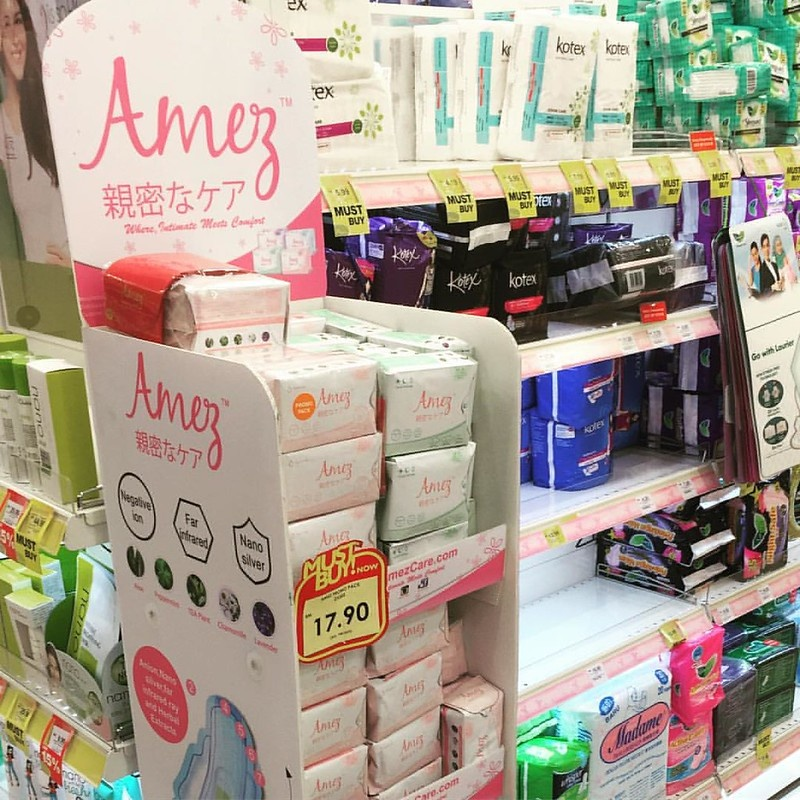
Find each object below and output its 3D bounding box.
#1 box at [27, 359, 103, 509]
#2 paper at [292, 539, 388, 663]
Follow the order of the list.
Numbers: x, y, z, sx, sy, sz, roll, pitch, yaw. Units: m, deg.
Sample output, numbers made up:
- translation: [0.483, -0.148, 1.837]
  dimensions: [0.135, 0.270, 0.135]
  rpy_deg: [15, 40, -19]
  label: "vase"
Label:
- translation: [-0.570, 0.049, 1.196]
  dimensions: [0.094, 0.226, 0.142]
  rpy_deg: [-19, 22, -33]
  label: "box"
- translation: [-0.084, 0.291, 1.040]
  dimensions: [0.173, 0.168, 0.007]
  rpy_deg: [-5, 6, -40]
  label: "paper"
